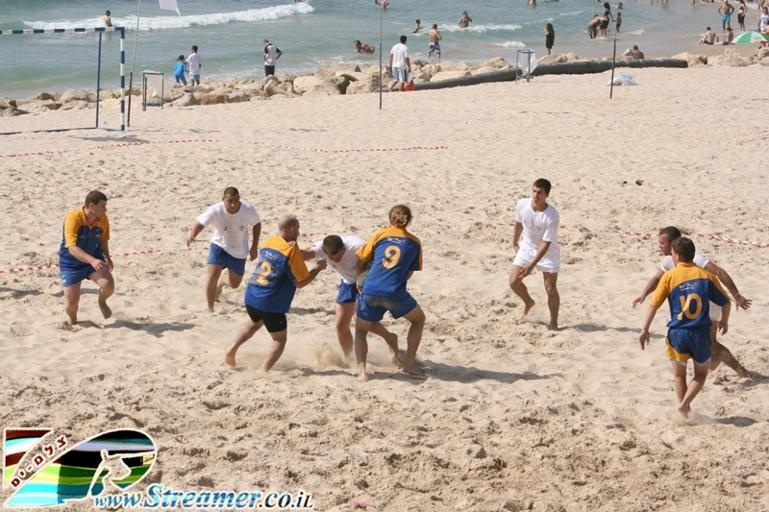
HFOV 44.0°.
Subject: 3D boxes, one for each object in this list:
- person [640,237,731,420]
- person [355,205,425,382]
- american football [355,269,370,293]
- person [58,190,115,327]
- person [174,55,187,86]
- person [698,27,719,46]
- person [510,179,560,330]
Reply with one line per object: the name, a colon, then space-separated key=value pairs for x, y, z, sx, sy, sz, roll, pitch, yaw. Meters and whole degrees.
person: x=4.032 y=0.948 z=12.715 sx=0.997 sy=2.257 sz=0.757 roll=6 pitch=19 yaw=19
person: x=0.056 y=0.516 z=13.406 sx=0.992 sy=2.400 sz=0.680 roll=-3 pitch=18 yaw=-7
american football: x=-0.323 y=0.350 z=13.424 sx=0.111 sy=0.260 sz=0.201 roll=14 pitch=13 yaw=-23
person: x=-4.481 y=0.022 z=14.240 sx=0.822 sy=1.999 sz=0.710 roll=0 pitch=18 yaw=0
person: x=-6.493 y=-5.868 z=30.300 sx=0.330 sy=0.970 sz=1.262 roll=-4 pitch=17 yaw=-11
person: x=14.032 y=-9.390 z=41.040 sx=0.637 sy=0.642 sz=1.174 roll=3 pitch=17 yaw=10
person: x=2.317 y=-0.017 z=14.514 sx=0.806 sy=2.294 sz=0.691 roll=6 pitch=19 yaw=20
